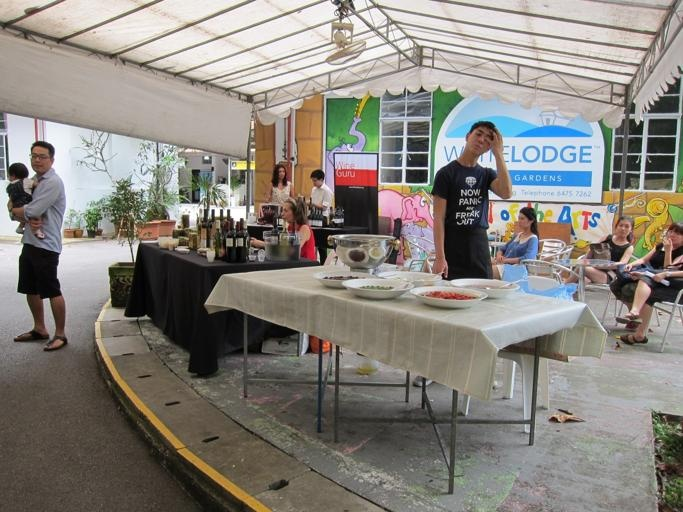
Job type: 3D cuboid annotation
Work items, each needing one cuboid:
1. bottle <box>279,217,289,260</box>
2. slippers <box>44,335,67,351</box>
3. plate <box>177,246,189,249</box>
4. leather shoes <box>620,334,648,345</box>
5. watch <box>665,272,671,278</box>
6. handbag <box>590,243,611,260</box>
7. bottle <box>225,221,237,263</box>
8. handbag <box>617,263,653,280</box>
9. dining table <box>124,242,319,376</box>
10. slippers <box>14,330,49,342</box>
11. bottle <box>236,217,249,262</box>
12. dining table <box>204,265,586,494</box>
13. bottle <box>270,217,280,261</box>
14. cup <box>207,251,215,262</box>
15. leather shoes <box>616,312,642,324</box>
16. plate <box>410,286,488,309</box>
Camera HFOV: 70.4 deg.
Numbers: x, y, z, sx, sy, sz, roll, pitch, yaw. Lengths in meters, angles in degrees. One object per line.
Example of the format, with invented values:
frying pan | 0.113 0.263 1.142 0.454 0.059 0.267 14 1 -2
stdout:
bottle | -0.548 -0.142 4.627 0.098 0.318 0.260 -3 12 -7
slippers | -3.052 0.938 5.170 0.101 0.076 0.189 -2 -5 13
plate | -1.720 -0.094 5.241 0.074 0.028 0.076 -2 -1 -11
leather shoes | 3.411 0.975 5.625 0.276 0.078 0.122 2 3 20
watch | 3.823 0.217 5.634 0.052 0.020 0.051 -21 26 -41
handbag | 3.487 -0.063 6.502 0.213 0.185 0.217 -1 -1 40
bottle | -1.044 -0.139 4.541 0.109 0.355 0.226 -4 13 -13
handbag | 3.727 0.197 6.140 0.371 0.153 0.272 -3 4 -34
dining table | -1.564 0.288 5.018 1.143 0.764 1.966 -1 7 -32
slippers | -3.454 0.902 5.379 0.258 0.097 0.148 6 -7 -24
bottle | -0.944 -0.152 4.564 0.121 0.372 0.270 -4 13 -12
dining table | 0.270 0.719 3.341 2.109 1.063 0.850 9 16 38
bottle | -0.675 -0.139 4.697 0.135 0.279 0.419 -3 13 -9
cup | -1.228 0.006 4.541 0.095 0.109 0.098 1 -1 0
leather shoes | 3.559 0.769 5.922 0.366 0.123 0.147 11 -15 -41
plate | 0.646 0.244 2.934 0.430 0.072 0.374 -4 13 -13
